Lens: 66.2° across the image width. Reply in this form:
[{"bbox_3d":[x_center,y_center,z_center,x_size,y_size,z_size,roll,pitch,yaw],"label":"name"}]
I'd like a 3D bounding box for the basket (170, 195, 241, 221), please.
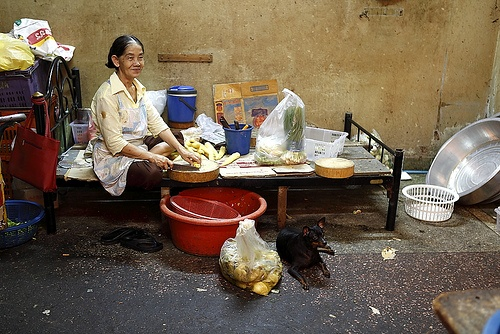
[{"bbox_3d":[-0.569,0.469,4.543,0.502,0.115,0.389,18,14,-18],"label":"basket"}]

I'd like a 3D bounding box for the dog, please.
[{"bbox_3d":[0.557,0.872,4.081,0.541,0.370,0.721,-7,11,-17],"label":"dog"}]

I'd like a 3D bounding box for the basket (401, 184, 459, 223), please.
[{"bbox_3d":[2.405,0.537,5.207,0.710,0.262,0.706,-2,8,-39],"label":"basket"}]

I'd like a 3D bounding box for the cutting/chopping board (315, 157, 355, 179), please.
[{"bbox_3d":[1.020,0.012,4.671,0.468,0.167,0.462,-1,16,-5],"label":"cutting/chopping board"}]

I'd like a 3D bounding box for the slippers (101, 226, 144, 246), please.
[{"bbox_3d":[-1.512,0.762,4.478,0.209,0.090,0.359,11,14,39],"label":"slippers"}]

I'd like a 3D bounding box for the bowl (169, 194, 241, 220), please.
[{"bbox_3d":[-0.595,0.473,4.534,0.481,0.098,0.406,9,13,-22],"label":"bowl"}]

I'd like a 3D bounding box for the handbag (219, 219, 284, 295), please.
[{"bbox_3d":[-0.024,0.866,3.918,0.513,0.658,0.739,-20,28,-35],"label":"handbag"}]

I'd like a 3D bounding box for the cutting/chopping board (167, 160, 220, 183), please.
[{"bbox_3d":[-0.670,0.016,4.579,0.611,0.145,0.605,6,19,6],"label":"cutting/chopping board"}]

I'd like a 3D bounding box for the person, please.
[{"bbox_3d":[-1.296,-0.565,4.380,1.023,1.749,0.786,-5,24,-21],"label":"person"}]

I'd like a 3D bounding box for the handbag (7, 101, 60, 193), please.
[{"bbox_3d":[-2.341,-0.069,4.148,0.619,0.653,0.191,12,24,20],"label":"handbag"}]

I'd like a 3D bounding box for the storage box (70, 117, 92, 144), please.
[{"bbox_3d":[-2.368,-0.512,5.379,0.337,0.268,0.277,-3,13,-17],"label":"storage box"}]
